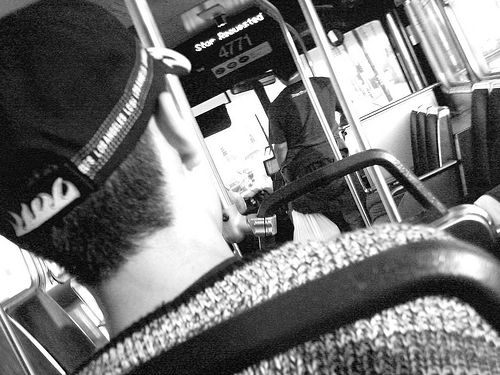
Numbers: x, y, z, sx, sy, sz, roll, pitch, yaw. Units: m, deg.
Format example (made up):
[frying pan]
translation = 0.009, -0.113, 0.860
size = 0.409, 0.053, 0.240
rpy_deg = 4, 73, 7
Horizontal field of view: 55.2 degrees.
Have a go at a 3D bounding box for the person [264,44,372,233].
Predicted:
[person]
translation = 0.369, -0.204, 2.830
size = 0.630, 0.882, 0.261
rpy_deg = -16, 4, 13
